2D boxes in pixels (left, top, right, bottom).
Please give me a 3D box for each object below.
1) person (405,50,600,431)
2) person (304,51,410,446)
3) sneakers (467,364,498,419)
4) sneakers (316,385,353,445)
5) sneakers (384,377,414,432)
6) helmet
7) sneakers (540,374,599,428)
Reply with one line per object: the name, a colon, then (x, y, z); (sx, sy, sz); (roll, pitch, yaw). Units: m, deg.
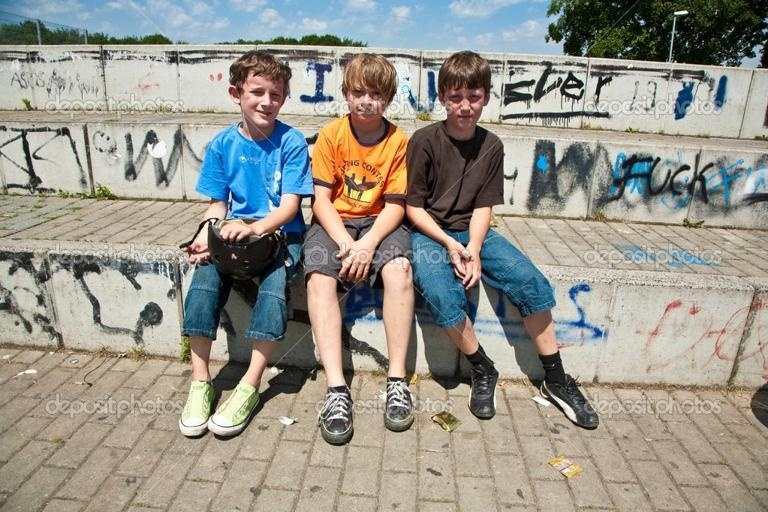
person: (0.783, -0.171, 3.815); (1.093, 2.633, 1.373); (-10, 24, -28)
person: (-0.197, -0.143, 3.739); (0.827, 2.605, 1.208); (0, 21, -5)
sneakers: (0.778, 1.058, 3.833); (0.209, 0.327, 0.258); (6, 21, 10)
sneakers: (-0.363, 1.157, 3.606); (0.262, 0.353, 0.269); (0, 21, -5)
sneakers: (0.113, 1.113, 3.689); (0.223, 0.332, 0.223); (3, 21, 3)
helmet: (-1.080, -0.037, 3.696); (0.518, 0.291, 0.431); (10, 20, -11)
sneakers: (1.464, 1.088, 3.857); (0.203, 0.264, 0.527); (-6, 24, -27)
